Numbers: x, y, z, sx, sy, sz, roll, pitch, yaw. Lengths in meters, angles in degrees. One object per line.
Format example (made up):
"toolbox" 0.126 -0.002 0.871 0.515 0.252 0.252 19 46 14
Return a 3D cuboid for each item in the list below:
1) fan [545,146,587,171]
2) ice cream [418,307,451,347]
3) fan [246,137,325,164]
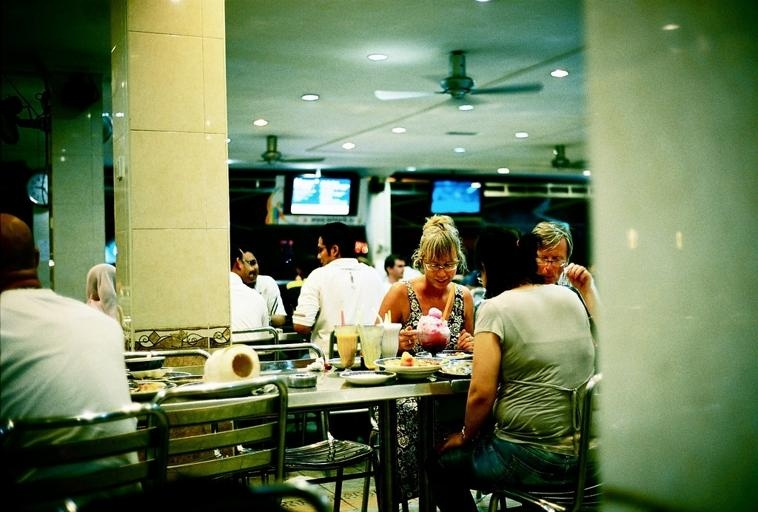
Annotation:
"fan" 2.792 -1.452 10.611 0.454 0.284 0.424 -2 0 7
"ice cream" 0.250 0.334 3.287 0.182 0.198 0.168 3 -13 1
"fan" -1.269 -1.431 9.994 0.679 0.263 1.824 0 1 8
